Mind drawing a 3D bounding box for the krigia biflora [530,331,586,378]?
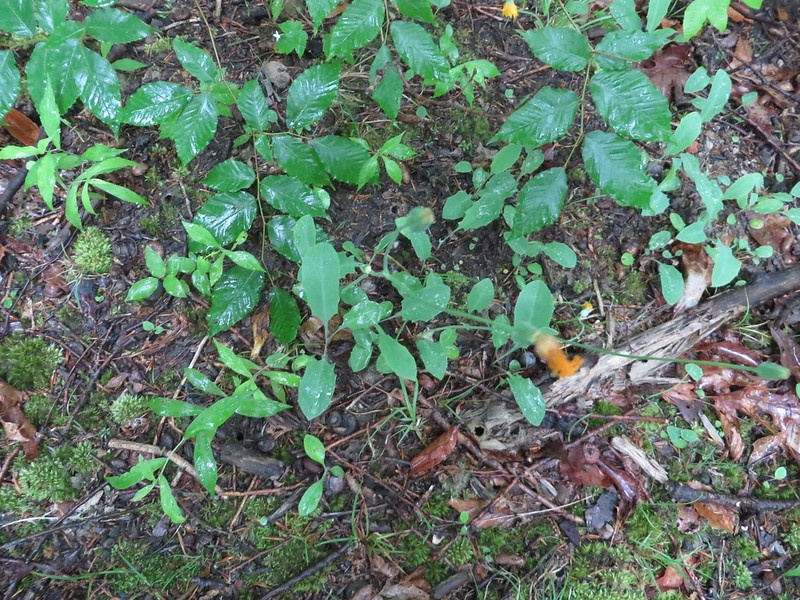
[{"bbox_3d":[0.745,0.268,2.977,0.147,0.080,0.231,-31,67,-26],"label":"krigia biflora"}]
